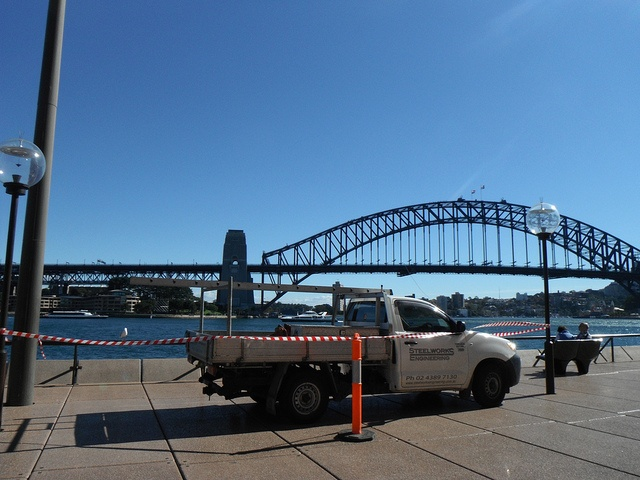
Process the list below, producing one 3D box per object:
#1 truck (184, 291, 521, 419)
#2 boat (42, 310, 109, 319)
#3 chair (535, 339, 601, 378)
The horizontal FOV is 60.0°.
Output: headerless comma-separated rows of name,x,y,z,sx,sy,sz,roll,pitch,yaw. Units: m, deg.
truck,0.944,2.241,10.494,6.352,2.192,2.391,1,-3,-19
boat,-56.314,17.454,128.328,11.730,1.629,14.681,3,-8,-19
chair,6.761,3.397,15.160,1.922,1.248,1.045,0,-6,-2
